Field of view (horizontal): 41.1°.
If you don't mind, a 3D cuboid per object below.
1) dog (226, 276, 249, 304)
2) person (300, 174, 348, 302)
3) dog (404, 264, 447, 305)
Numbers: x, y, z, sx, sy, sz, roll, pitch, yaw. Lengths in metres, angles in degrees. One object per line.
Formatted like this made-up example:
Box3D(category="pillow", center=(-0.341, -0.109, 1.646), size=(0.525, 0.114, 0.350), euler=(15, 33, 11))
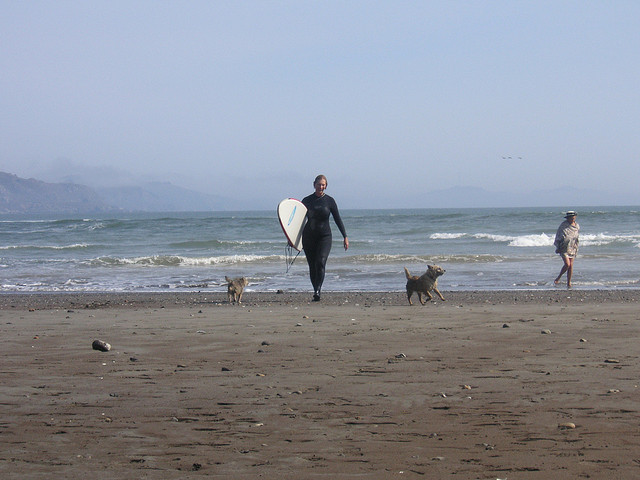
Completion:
Box3D(category="dog", center=(-1.236, 0.797, 13.023), size=(0.276, 0.460, 0.937), euler=(-2, 14, -6))
Box3D(category="person", center=(0.071, -0.046, 12.224), size=(0.607, 1.822, 0.533), euler=(-1, 4, -10))
Box3D(category="dog", center=(1.541, 0.667, 12.545), size=(0.511, 0.554, 0.524), euler=(-3, 6, -10))
